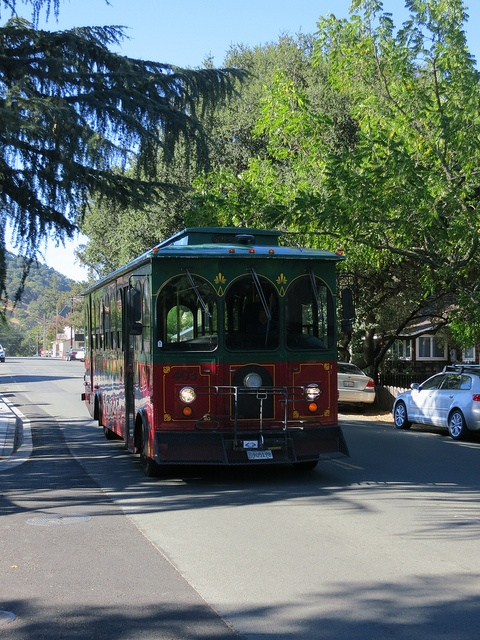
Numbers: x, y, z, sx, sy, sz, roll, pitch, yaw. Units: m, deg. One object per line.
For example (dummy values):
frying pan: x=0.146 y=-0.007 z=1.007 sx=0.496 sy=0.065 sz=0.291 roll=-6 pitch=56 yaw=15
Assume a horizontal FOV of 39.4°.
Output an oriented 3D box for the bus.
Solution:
bus: x=-0.703 y=0.446 z=10.619 sx=2.650 sy=3.662 sz=4.855 roll=2 pitch=-3 yaw=-24
